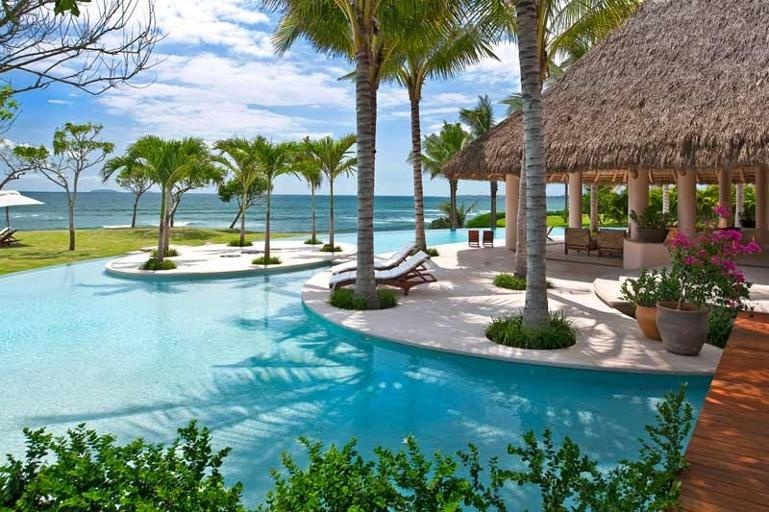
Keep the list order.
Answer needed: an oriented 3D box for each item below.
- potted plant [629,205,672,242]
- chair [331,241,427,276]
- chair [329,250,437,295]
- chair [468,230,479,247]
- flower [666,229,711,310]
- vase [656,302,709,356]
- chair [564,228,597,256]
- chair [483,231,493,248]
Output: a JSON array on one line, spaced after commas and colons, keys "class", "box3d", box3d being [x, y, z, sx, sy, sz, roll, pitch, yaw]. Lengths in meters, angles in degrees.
[{"class": "potted plant", "box3d": [8.125, -0.958, 14.844, 1.282, 0.999, 1.215, -1, -2, -4]}, {"class": "chair", "box3d": [-0.384, 0.180, 14.104, 2.320, 0.703, 1.199, -5, 7, 3]}, {"class": "chair", "box3d": [-0.054, 0.468, 12.382, 2.569, 0.872, 1.158, 3, 4, 0]}, {"class": "chair", "box3d": [3.994, -0.872, 22.035, 0.466, 0.690, 1.676, 0, 11, 7]}, {"class": "flower", "box3d": [4.916, 0.248, 7.902, 0.517, 1.190, 0.845, 4, 12, 23]}, {"class": "vase", "box3d": [4.785, 1.186, 7.849, 0.805, 0.646, 0.809, 0, -3, -15]}, {"class": "chair", "box3d": [7.026, -0.571, 17.573, 0.795, 0.755, 1.360, 3, 9, 28]}, {"class": "chair", "box3d": [4.519, -0.794, 21.558, 0.453, 0.687, 1.277, 1, 11, 9]}]
